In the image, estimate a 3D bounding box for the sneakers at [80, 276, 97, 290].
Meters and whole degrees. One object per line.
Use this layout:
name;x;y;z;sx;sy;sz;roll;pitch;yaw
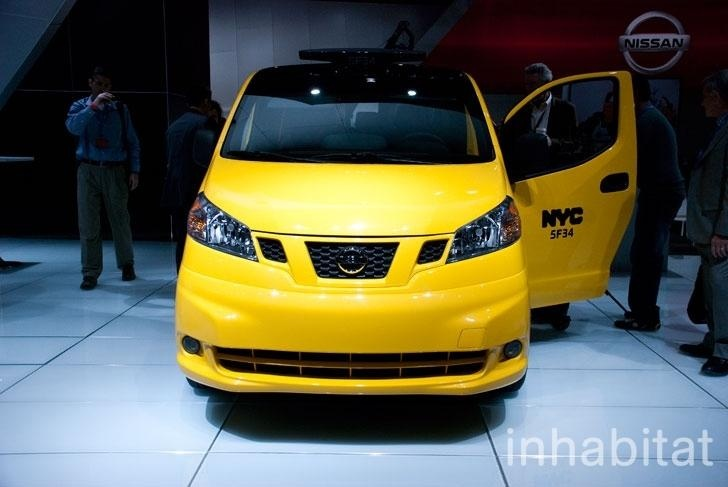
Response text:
sneakers;-3.227;0.463;6.532;0.185;0.130;0.228;-6;18;-26

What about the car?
car;0.236;-0.154;4.806;2.573;1.705;3.195;0;3;5

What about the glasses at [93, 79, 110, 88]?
glasses;-2.989;-1.836;6.360;0.126;0.090;0.122;3;1;4

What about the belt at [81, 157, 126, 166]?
belt;-3.113;-0.981;6.627;0.480;0.105;0.193;-2;17;-12

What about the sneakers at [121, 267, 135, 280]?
sneakers;-2.910;0.376;6.915;0.088;0.175;0.253;1;-22;-3
